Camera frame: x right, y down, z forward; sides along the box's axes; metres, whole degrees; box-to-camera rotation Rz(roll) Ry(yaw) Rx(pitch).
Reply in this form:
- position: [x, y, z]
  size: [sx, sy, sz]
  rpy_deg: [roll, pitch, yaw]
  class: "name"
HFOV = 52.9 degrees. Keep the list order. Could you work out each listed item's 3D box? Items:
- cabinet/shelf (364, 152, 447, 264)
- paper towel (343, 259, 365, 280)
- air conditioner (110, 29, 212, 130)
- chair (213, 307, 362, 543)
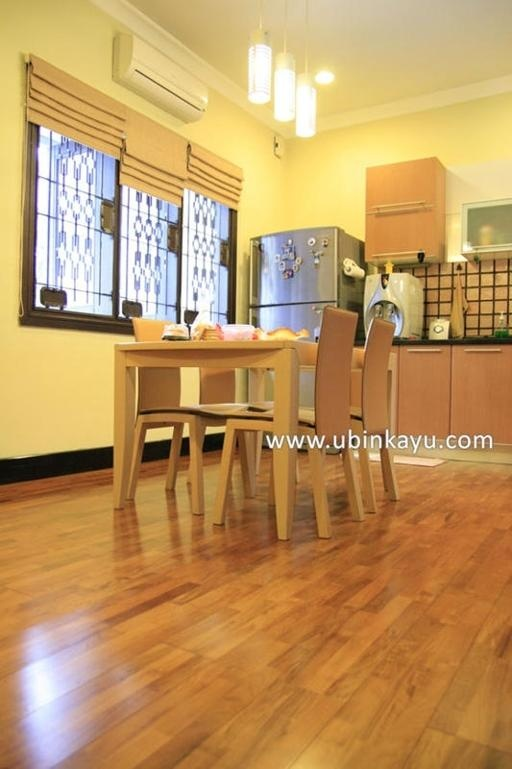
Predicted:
- position: [1.355, -1.475, 4.901]
  size: [0.797, 1.365, 0.733]
  rpy_deg: [2, 6, 29]
  class: "cabinet/shelf"
- position: [0.894, -1.053, 4.650]
  size: [0.111, 0.192, 0.394]
  rpy_deg: [-1, -4, 30]
  class: "paper towel"
- position: [-0.668, -2.248, 3.797]
  size: [0.166, 0.324, 0.736]
  rpy_deg: [19, 11, 38]
  class: "air conditioner"
- position: [0.264, 0.132, 2.519]
  size: [0.648, 1.403, 0.708]
  rpy_deg: [2, 2, 32]
  class: "chair"
